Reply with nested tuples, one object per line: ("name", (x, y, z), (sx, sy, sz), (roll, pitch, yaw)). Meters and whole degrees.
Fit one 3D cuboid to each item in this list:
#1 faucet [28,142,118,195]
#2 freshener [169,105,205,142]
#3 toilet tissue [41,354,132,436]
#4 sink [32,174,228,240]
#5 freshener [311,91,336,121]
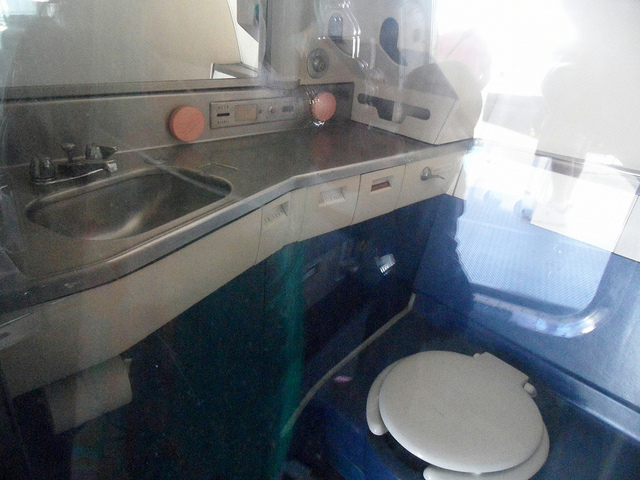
("faucet", (-0.487, -0.139, 0.904), (0.118, 0.050, 0.098), (-19, 51, -35))
("freshener", (-0.332, -0.286, 1.132), (0.081, 0.091, 0.028), (-16, 31, -36))
("toilet tissue", (-0.385, 0.260, 0.770), (0.039, 0.106, 0.144), (17, 30, 27))
("sink", (-0.420, -0.063, 1.050), (0.275, 0.112, 0.448), (-13, 4, 25))
("freshener", (0.009, -0.344, 1.184), (0.071, 0.076, 0.017), (28, -14, -40))
